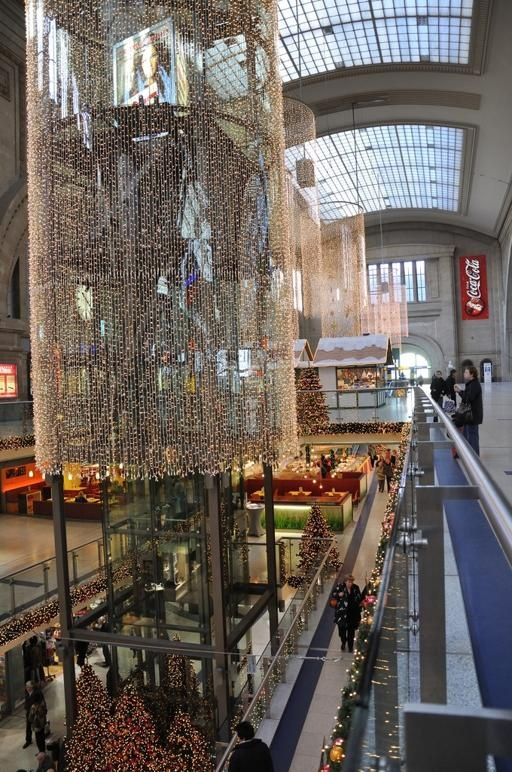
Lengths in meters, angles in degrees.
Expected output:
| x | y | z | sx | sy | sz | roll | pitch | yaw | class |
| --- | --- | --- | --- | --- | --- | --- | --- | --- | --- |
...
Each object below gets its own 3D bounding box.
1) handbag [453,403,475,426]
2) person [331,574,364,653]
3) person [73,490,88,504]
| x | y | z | sx | sy | sz | roll | pitch | yaw | class |
| --- | --- | --- | --- | --- | --- | --- | --- | --- | --- |
| 2.260 | 0.307 | 6.988 | 0.144 | 0.329 | 0.324 | 1 | -8 | 15 | handbag |
| 1.390 | 3.485 | 9.778 | 0.486 | 1.137 | 1.211 | -3 | 1 | 6 | person |
| -5.075 | 3.200 | 18.630 | 0.321 | 0.765 | 0.230 | 1 | -6 | -6 | person |
